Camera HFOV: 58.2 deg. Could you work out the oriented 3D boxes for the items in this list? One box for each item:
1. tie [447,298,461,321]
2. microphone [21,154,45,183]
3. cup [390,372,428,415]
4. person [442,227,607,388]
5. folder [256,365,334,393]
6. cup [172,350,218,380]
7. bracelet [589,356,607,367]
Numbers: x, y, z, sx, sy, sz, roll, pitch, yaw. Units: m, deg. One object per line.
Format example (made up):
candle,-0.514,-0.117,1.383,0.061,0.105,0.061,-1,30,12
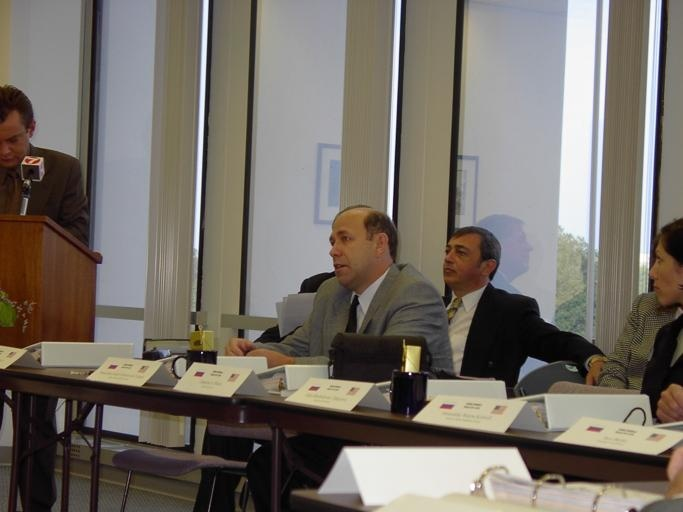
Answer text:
tie,0.700,0.339,3.800,0.029,0.138,0.033,28,-14,-25
microphone,-1.470,-0.412,2.940,0.091,0.112,0.107,0,0,-32
cup,0.191,0.383,1.765,0.096,0.123,0.104,1,6,0
person,1.086,0.316,3.593,0.752,0.856,0.247,-8,-17,42
folder,-0.146,0.408,2.050,0.135,0.048,0.136,2,-6,-35
cup,-0.552,0.398,2.293,0.161,0.130,0.105,0,-1,7
bracelet,1.347,0.553,3.228,0.070,0.053,0.075,7,0,19
